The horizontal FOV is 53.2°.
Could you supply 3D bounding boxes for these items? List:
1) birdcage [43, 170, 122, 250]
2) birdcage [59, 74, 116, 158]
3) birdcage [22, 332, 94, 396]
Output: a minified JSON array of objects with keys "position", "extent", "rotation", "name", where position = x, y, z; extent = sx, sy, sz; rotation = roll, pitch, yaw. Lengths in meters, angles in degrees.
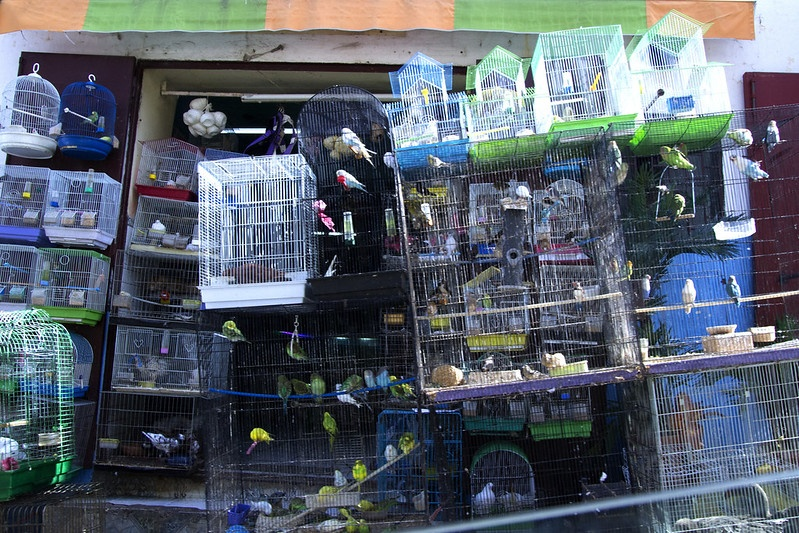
[{"position":[-3.251,-0.566,8.118],"extent":[0.781,0.994,0.566],"rotation":[2,-5,3],"name":"birdcage"},{"position":[-3.258,-1.612,8.401],"extent":[0.562,0.855,0.544],"rotation":[19,18,39],"name":"birdcage"},{"position":[-3.418,1.000,8.224],"extent":[0.646,0.849,0.533],"rotation":[9,-10,-44],"name":"birdcage"}]
